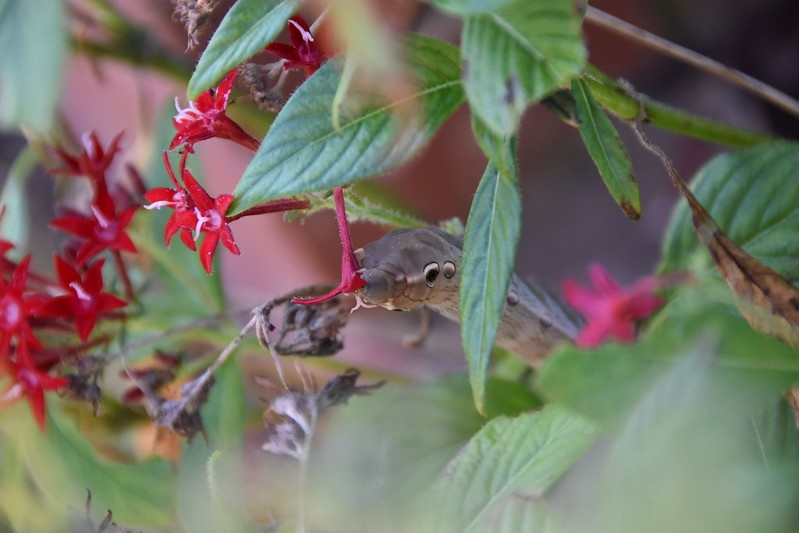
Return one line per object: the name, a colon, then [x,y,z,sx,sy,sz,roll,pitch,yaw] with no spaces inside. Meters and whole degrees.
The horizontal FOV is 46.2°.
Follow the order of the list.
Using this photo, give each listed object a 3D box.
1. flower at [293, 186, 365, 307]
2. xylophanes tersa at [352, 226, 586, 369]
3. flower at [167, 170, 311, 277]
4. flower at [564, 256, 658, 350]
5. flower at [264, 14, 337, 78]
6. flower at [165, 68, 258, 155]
flower: [-0.046,-0.014,0.616,0.048,0.109,0.027,-4,-45,0]
xylophanes tersa: [0.055,0.025,0.671,0.224,0.083,0.072,13,8,-40]
flower: [-0.108,-0.033,0.611,0.072,0.057,0.068,-10,24,-10]
flower: [0.133,0.023,0.586,0.059,0.050,0.082,-8,-2,12]
flower: [-0.068,-0.144,0.611,0.039,0.034,0.034,-7,-2,-12]
flower: [-0.117,-0.096,0.633,0.064,0.030,0.057,15,-12,21]
